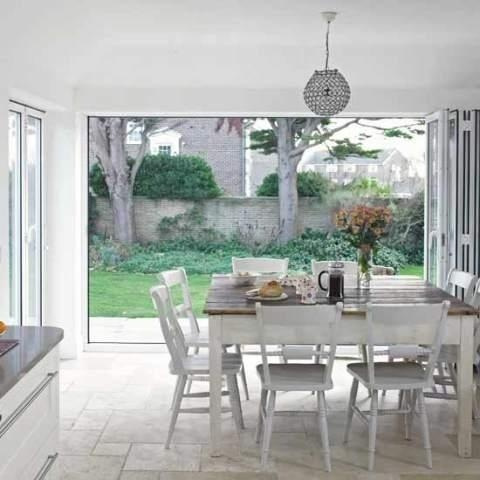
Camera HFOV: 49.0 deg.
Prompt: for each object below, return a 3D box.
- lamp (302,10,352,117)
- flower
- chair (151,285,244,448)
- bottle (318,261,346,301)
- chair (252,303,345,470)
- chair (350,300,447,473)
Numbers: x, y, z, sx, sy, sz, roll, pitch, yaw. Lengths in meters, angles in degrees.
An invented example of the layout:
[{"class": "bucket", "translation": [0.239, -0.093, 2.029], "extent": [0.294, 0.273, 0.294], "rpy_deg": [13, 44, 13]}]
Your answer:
[{"class": "lamp", "translation": [0.611, -1.236, 3.695], "extent": [0.276, 0.701, 0.284], "rpy_deg": [-5, 9, -33]}, {"class": "flower", "translation": [0.800, 0.017, 3.438], "extent": [0.341, 0.478, 0.335], "rpy_deg": [1, 4, 13]}, {"class": "chair", "translation": [-0.270, 0.701, 3.408], "extent": [0.697, 1.323, 0.715], "rpy_deg": [-1, 2, 1]}, {"class": "bottle", "translation": [0.589, 0.278, 3.384], "extent": [0.165, 0.261, 0.124], "rpy_deg": [3, 7, 25]}, {"class": "chair", "translation": [0.315, 0.745, 3.036], "extent": [0.460, 1.068, 0.626], "rpy_deg": [0, 15, 5]}, {"class": "chair", "translation": [0.860, 0.792, 2.980], "extent": [0.395, 0.996, 0.584], "rpy_deg": [0, 3, -1]}]
